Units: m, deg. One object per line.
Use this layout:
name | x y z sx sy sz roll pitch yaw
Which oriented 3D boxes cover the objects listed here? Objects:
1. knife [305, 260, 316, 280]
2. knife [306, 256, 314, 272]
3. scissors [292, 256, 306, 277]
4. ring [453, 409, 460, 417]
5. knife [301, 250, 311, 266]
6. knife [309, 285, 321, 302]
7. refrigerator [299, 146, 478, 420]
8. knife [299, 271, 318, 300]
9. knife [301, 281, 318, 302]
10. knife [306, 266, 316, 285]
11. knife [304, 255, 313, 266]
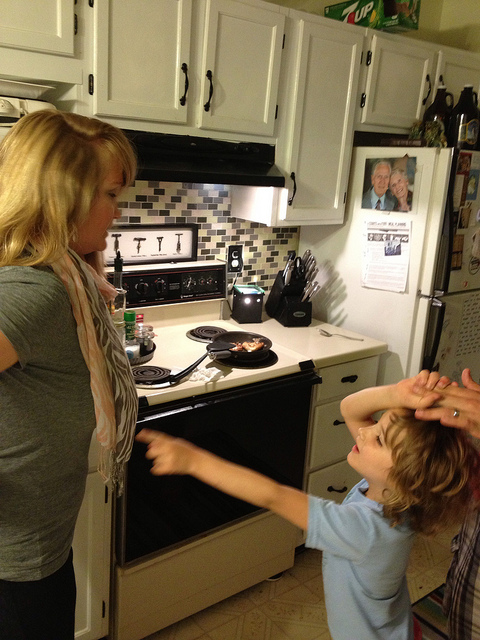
knife | 0.340 -0.247 2.339 0.018 0.113 0.023 28 16 -10
knife | 0.333 -0.267 2.338 0.028 0.077 0.015 32 11 -8
scissors | 0.282 -0.260 2.352 0.068 0.093 0.022 1 12 -33
ring | 0.344 0.148 0.778 0.010 0.009 0.002 5 -7 -33
knife | 0.314 -0.293 2.317 0.025 0.089 0.021 22 53 -8
knife | 0.370 -0.137 2.413 0.023 0.102 0.018 16 31 -50
refrigerator | 0.692 -0.238 2.252 0.711 1.063 0.389 6 13 15
knife | 0.326 -0.172 2.352 0.017 0.159 0.018 39 -12 -18
knife | 0.332 -0.142 2.358 0.018 0.126 0.018 29 17 -41
knife | 0.339 -0.214 2.339 0.020 0.080 0.018 31 21 5
knife | 0.328 -0.285 2.333 0.018 0.062 0.016 35 5 -23
